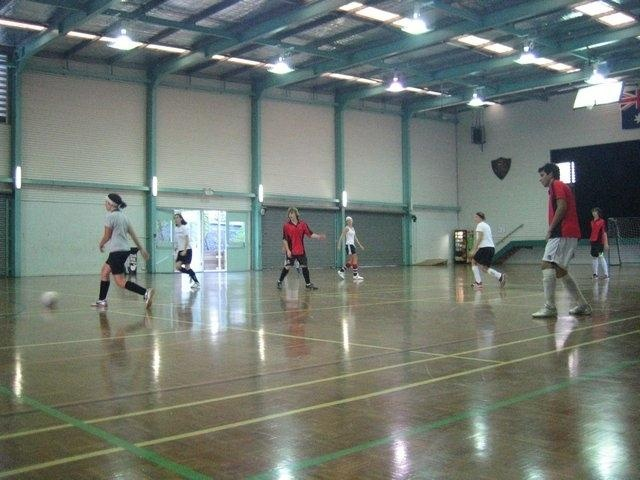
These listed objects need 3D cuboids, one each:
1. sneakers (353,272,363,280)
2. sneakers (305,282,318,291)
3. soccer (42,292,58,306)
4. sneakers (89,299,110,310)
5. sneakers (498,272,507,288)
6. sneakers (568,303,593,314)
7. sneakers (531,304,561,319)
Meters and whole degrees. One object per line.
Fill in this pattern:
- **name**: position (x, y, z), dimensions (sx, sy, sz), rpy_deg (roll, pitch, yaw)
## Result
- **sneakers**: position (1.306, 1.269, 16.747), dimensions (0.449, 0.291, 0.158), rpy_deg (-3, -2, 29)
- **sneakers**: position (-0.239, 1.219, 12.544), dimensions (0.124, 0.136, 0.361), rpy_deg (2, -6, -44)
- **soccer**: position (-5.103, 1.121, 9.044), dimensions (0.174, 0.186, 0.198), rpy_deg (24, 24, 31)
- **sneakers**: position (-4.024, 1.170, 8.730), dimensions (0.272, 0.159, 0.156), rpy_deg (8, -3, -1)
- **sneakers**: position (4.942, 1.104, 12.998), dimensions (0.159, 0.412, 0.180), rpy_deg (1, 7, -1)
- **sneakers**: position (3.803, 1.020, 7.150), dimensions (0.418, 0.193, 0.139), rpy_deg (-2, 2, 12)
- **sneakers**: position (3.277, 1.035, 6.955), dimensions (0.465, 0.199, 0.167), rpy_deg (-1, -3, -8)
